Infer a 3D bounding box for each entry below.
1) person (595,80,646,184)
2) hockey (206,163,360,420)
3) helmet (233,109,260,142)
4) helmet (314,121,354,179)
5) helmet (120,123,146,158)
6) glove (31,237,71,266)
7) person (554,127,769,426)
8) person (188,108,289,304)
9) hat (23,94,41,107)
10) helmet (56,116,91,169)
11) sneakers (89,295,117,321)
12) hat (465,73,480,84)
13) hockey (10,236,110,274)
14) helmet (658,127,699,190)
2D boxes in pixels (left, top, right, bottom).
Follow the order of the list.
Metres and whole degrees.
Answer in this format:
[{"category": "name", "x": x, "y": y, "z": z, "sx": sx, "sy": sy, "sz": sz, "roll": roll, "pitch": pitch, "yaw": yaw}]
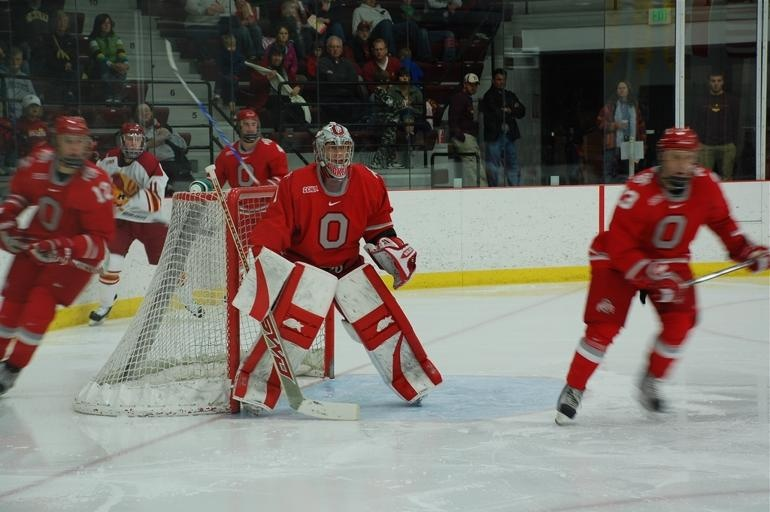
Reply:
[{"category": "person", "x": 2.659, "y": -1.342, "z": 10.992, "sx": 0.510, "sy": 1.243, "sz": 0.381, "roll": -3, "pitch": 26, "yaw": 2}, {"category": "hockey", "x": -0.688, "y": 0.261, "z": 6.516, "sx": 0.277, "sy": 1.766, "sz": 0.210, "roll": -17, "pitch": -11, "yaw": -18}, {"category": "helmet", "x": -1.248, "y": -1.189, "z": 8.852, "sx": 0.232, "sy": 0.313, "sz": 0.307, "roll": -7, "pitch": 16, "yaw": -27}, {"category": "helmet", "x": -0.347, "y": -0.707, "z": 6.497, "sx": 0.285, "sy": 0.358, "sz": 0.345, "roll": -1, "pitch": 7, "yaw": -9}, {"category": "helmet", "x": -2.384, "y": -1.108, "z": 9.239, "sx": 0.241, "sy": 0.302, "sz": 0.317, "roll": 1, "pitch": 18, "yaw": -14}, {"category": "glove", "x": -2.357, "y": -0.024, "z": 6.952, "sx": 0.135, "sy": 0.169, "sz": 0.306, "roll": 2, "pitch": 8, "yaw": 34}, {"category": "person", "x": 1.708, "y": 0.113, "z": 6.309, "sx": 1.378, "sy": 1.844, "sz": 0.334, "roll": -4, "pitch": 7, "yaw": -16}, {"category": "person", "x": -1.273, "y": -0.817, "z": 8.809, "sx": 0.768, "sy": 0.979, "sz": 0.546, "roll": -5, "pitch": 23, "yaw": -23}, {"category": "hat", "x": -3.112, "y": -1.369, "z": 8.613, "sx": 0.030, "sy": 0.116, "sz": 0.208, "roll": 0, "pitch": 7, "yaw": 20}, {"category": "helmet", "x": -2.328, "y": -0.853, "z": 7.226, "sx": 0.293, "sy": 0.380, "sz": 0.384, "roll": 5, "pitch": 5, "yaw": -32}, {"category": "sneakers", "x": -2.541, "y": 0.525, "z": 8.741, "sx": 0.110, "sy": 0.137, "sz": 0.328, "roll": 34, "pitch": 49, "yaw": -9}, {"category": "hat", "x": 0.969, "y": -1.982, "z": 10.944, "sx": 0.146, "sy": 0.082, "sz": 0.112, "roll": 23, "pitch": 36, "yaw": 34}, {"category": "hockey", "x": -2.274, "y": -0.014, "z": 7.085, "sx": 0.764, "sy": 0.244, "sz": 0.209, "roll": 8, "pitch": 32, "yaw": -40}, {"category": "helmet", "x": 1.854, "y": -0.602, "z": 6.216, "sx": 0.239, "sy": 0.413, "sz": 0.231, "roll": 0, "pitch": 7, "yaw": 16}]
